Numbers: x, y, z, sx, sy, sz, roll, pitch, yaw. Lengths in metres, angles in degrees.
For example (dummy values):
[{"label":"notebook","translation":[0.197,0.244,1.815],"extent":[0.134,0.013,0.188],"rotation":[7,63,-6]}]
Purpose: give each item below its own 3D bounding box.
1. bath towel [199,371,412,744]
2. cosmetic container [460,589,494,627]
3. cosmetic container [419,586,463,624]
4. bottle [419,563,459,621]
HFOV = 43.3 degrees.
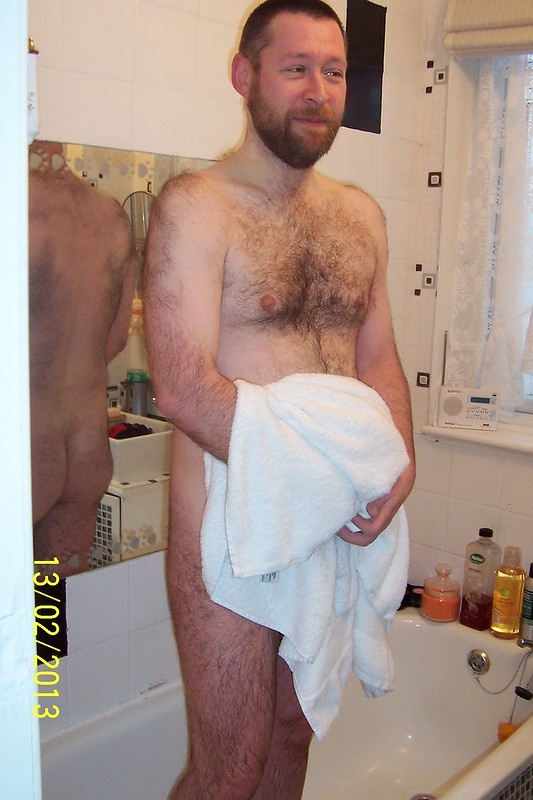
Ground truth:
[{"label":"bath towel","translation":[0.002,0.242,1.012],"extent":[0.196,0.551,0.354],"rotation":[0,-4,43]},{"label":"cosmetic container","translation":[0.620,0.638,2.061],"extent":[0.096,0.132,0.095],"rotation":[20,-20,-36]},{"label":"cosmetic container","translation":[0.520,0.620,2.039],"extent":[0.096,0.087,0.096],"rotation":[0,-8,18]},{"label":"bottle","translation":[0.530,0.588,2.060],"extent":[0.135,0.181,0.133],"rotation":[1,2,0]}]
